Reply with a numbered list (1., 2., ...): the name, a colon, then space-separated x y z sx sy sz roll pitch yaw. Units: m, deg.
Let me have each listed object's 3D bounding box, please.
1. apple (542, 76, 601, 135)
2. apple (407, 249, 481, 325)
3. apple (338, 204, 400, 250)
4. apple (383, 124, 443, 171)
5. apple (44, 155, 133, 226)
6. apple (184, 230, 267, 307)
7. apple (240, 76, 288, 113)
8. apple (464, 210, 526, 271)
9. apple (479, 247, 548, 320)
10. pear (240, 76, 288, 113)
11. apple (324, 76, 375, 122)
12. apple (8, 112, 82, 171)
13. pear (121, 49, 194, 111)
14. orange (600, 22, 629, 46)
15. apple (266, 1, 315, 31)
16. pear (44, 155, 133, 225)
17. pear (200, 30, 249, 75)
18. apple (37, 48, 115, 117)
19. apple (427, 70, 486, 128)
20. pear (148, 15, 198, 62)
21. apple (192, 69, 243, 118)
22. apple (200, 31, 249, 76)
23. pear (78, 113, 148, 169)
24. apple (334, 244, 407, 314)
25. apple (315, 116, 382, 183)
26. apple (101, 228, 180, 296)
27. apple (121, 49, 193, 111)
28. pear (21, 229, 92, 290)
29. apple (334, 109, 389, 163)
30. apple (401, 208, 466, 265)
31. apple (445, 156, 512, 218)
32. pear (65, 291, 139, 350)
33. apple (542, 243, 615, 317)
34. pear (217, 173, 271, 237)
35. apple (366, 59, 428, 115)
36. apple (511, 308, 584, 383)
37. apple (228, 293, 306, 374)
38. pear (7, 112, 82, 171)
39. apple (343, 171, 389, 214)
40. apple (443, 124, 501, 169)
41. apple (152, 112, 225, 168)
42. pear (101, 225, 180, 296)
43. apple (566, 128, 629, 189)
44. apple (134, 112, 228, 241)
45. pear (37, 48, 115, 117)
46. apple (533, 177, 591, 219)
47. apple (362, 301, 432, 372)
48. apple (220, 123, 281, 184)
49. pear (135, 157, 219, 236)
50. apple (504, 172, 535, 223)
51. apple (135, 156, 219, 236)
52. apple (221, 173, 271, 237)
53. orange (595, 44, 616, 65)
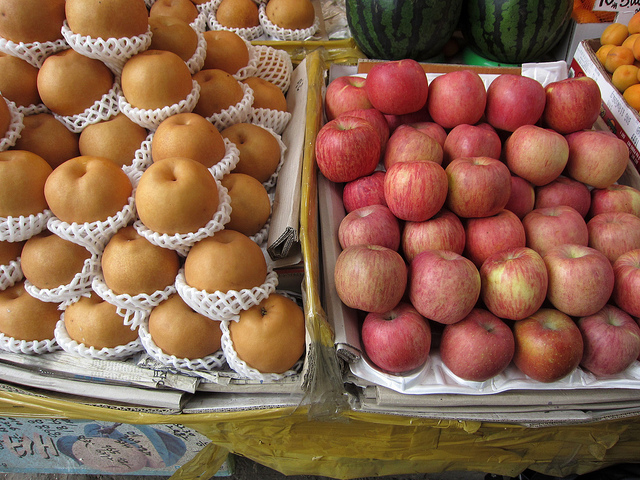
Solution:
1. apple: 0.834 -0.455 1.834 0.180 0.198 0.195 4 8 33
2. apple: 0.354 0.135 1.572 0.184 0.210 0.202 -9 22 -21
3. apple: 0.164 0.002 1.689 0.163 0.166 0.182 -5 87 41
4. apple: 0.290 -0.288 1.732 0.129 0.136 0.141 18 16 -15
5. apple: -0.628 -0.157 1.500 0.167 0.161 0.193 20 27 23
6. apple: -0.256 0.068 1.488 0.169 0.178 0.192 -1 79 -3
7. apple: -0.190 -0.496 1.901 0.124 0.139 0.130 -17 42 -27
8. apple: 0.499 -0.028 1.658 0.152 0.181 0.165 -17 12 -3
9. apple: 0.559 0.123 1.583 0.167 0.209 0.194 3 28 30
10. pear: -0.194 -0.514 1.912 0.123 0.133 0.129 -18 45 -30
11. apple: 0.090 -0.500 1.936 0.130 0.158 0.150 1 25 5
12. apple: -0.802 -0.297 1.657 0.147 0.180 0.165 0 15 15
13. pear: -0.465 -0.453 1.587 0.159 0.177 0.167 -19 18 -23
14. orange: 1.176 -0.808 2.191 0.098 0.086 0.076 -24 24 -15
15. apple: -0.130 -0.974 2.454 0.166 0.156 0.156 4 32 -28
16. pear: -0.622 -0.133 1.478 0.170 0.196 0.187 -13 39 -28
17. pear: -0.315 -0.627 1.856 0.137 0.112 0.137 -26 35 -33
18. apple: -0.737 -0.478 1.658 0.171 0.207 0.203 9 13 20
19. apple: 0.443 -0.452 1.778 0.157 0.178 0.180 -8 29 10
20. pear: -0.446 -0.609 1.673 0.123 0.150 0.132 -6 12 -13
21. apple: -0.328 -0.461 1.749 0.146 0.084 0.146 -3 63 6
22. apple: -0.337 -0.668 1.929 0.184 0.174 0.214 7 14 -10
23. pear: -0.614 -0.292 1.664 0.153 0.157 0.178 -24 59 38
24. apple: 0.145 0.084 1.521 0.159 0.174 0.176 14 95 17
25. apple: 0.089 -0.293 1.751 0.216 0.169 0.184 -1 62 7
26. apple: -0.492 0.068 1.507 0.162 0.192 0.175 -9 26 -17
27. apple: -0.463 -0.449 1.569 0.156 0.176 0.168 -15 16 -16
28. pear: -0.757 0.063 1.558 0.177 0.074 0.148 18 67 15
29. apple: 0.147 -0.373 1.872 0.146 0.187 0.166 -5 18 2
30. apple: 0.339 -0.014 1.610 0.142 0.159 0.166 1 93 0
31. apple: 0.487 -0.175 1.675 0.197 0.206 0.220 5 39 21
32. pear: -0.645 0.246 1.594 0.214 0.092 0.140 24 68 18
33. apple: 0.736 0.158 1.574 0.165 0.176 0.185 17 59 -20
34. pear: -0.222 -0.114 1.726 0.149 0.164 0.165 -19 39 -10
35. apple: 0.250 -0.490 1.774 0.154 0.163 0.175 3 38 15
36. apple: 0.616 0.282 1.503 0.165 0.193 0.183 -4 9 19
37. apple: -0.140 0.256 1.516 0.181 0.200 0.203 2 25 4
38. pear: -0.800 -0.290 1.669 0.151 0.176 0.164 -21 6 12
39. apple: 0.146 -0.152 1.787 0.110 0.125 0.123 1 24 12
40. apple: 0.480 -0.302 1.740 0.127 0.147 0.140 2 17 -5
41. apple: -0.364 -0.286 1.561 0.152 0.158 0.154 -15 29 -30
42. pear: -0.502 0.068 1.596 0.165 0.196 0.186 -9 32 -4
43. apple: 0.872 -0.261 1.756 0.196 0.122 0.153 30 70 20
44. apple: -0.388 -0.182 1.500 0.204 0.156 0.373 -5 58 -3
45. pear: -0.727 -0.458 1.688 0.170 0.193 0.183 -11 34 -8
46. apple: 0.775 -0.140 1.760 0.115 0.132 0.129 5 11 -3
47. apple: 0.211 0.250 1.563 0.157 0.161 0.166 -14 88 -30
48. apple: -0.206 -0.272 1.814 0.154 0.146 0.196 2 59 20
49. pear: -0.373 -0.109 1.450 0.176 0.204 0.197 2 20 -7
50. apple: 0.608 -0.128 1.684 0.088 0.096 0.125 8 64 -10
51. apple: -0.372 -0.115 1.447 0.182 0.202 0.196 -9 33 -25
52. apple: -0.235 -0.104 1.709 0.142 0.156 0.165 5 65 -18
53. orange: 1.131 -0.729 2.189 0.071 0.087 0.081 4 33 44
